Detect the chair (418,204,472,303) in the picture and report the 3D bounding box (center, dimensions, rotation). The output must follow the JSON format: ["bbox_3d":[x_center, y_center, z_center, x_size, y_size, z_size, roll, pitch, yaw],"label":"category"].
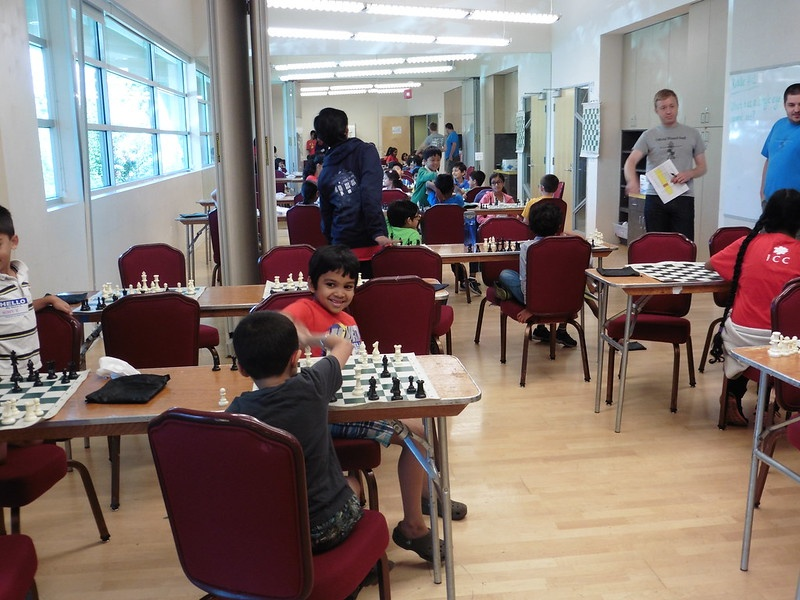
[{"bbox_3d":[0.508,-0.494,6.650,0.597,0.947,0.549,11,-7,-41],"label":"chair"}]

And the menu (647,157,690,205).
[{"bbox_3d":[2.121,-0.937,5.058,0.335,0.344,0.079,-33,-1,10],"label":"menu"}]

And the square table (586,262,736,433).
[{"bbox_3d":[1.650,0.324,4.049,0.901,0.898,0.390,-5,24,-16],"label":"square table"}]

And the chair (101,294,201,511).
[{"bbox_3d":[-1.132,0.348,2.896,0.529,1.014,0.594,-6,-20,-17],"label":"chair"}]

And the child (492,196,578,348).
[{"bbox_3d":[1.009,-0.213,4.726,0.522,1.116,0.662,-17,22,-32],"label":"child"}]

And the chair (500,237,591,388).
[{"bbox_3d":[0.999,0.048,4.415,0.630,1.008,0.363,2,13,15],"label":"chair"}]

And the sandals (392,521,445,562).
[{"bbox_3d":[0.071,1.000,2.668,0.212,0.092,0.124,11,15,28],"label":"sandals"}]

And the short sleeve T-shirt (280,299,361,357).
[{"bbox_3d":[-0.314,0.110,2.502,0.209,0.217,0.062,-6,10,-16],"label":"short sleeve T-shirt"}]
